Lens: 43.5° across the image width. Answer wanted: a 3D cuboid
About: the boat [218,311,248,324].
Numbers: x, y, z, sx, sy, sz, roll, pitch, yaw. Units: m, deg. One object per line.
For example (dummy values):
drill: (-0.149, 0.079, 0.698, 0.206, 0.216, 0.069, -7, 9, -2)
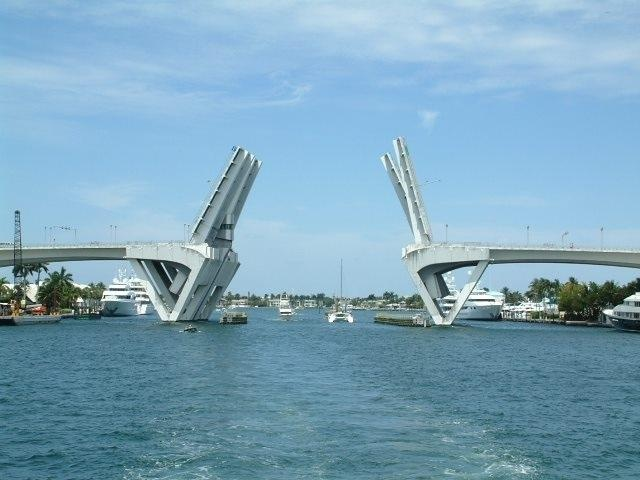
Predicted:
boat: (-10.376, 9.495, 94.598, 2.897, 0.817, 2.456, -1, -1, -1)
